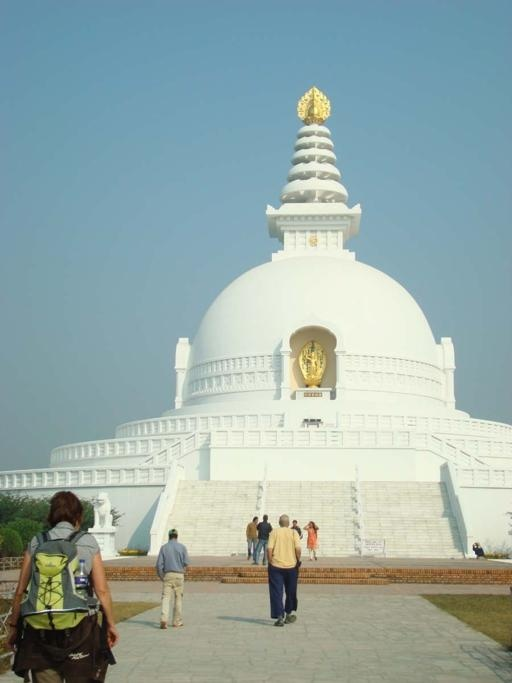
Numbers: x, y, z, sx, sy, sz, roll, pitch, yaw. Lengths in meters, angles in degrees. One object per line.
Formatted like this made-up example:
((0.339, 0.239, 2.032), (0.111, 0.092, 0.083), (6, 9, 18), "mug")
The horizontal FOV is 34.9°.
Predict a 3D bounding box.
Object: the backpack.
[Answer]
((-1.086, 1.353, 4.522), (0.537, 0.669, 0.432), (0, -22, 0), "backpack")

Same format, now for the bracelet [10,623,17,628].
((-1.391, 1.631, 4.677), (0.028, 0.021, 0.028), (-3, -10, 10), "bracelet")

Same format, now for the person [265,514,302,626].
((0.286, 2.720, 9.732), (0.395, 1.264, 0.639), (-7, -19, 19), "person")
